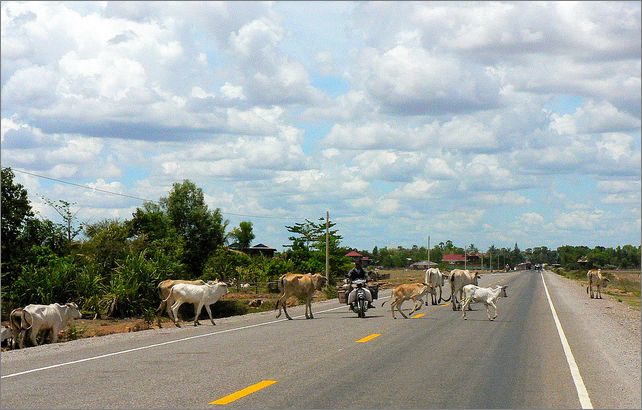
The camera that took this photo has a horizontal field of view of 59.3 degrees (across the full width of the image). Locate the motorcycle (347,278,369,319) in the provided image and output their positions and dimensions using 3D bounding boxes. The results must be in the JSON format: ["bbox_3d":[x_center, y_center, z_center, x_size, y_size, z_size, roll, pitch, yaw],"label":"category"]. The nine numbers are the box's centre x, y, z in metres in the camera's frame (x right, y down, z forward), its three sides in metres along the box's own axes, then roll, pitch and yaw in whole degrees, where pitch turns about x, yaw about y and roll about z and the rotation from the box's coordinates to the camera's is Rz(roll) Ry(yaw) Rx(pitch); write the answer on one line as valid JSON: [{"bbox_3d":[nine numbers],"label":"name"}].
[{"bbox_3d":[1.886,4.583,27.493,1.049,1.834,1.381,-1,-10,2],"label":"motorcycle"}]

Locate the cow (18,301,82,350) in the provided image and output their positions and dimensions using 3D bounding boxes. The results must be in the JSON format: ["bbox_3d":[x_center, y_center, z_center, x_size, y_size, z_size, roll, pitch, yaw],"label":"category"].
[{"bbox_3d":[-11.286,4.964,23.401,1.031,1.753,2.176,-3,-11,13],"label":"cow"}]

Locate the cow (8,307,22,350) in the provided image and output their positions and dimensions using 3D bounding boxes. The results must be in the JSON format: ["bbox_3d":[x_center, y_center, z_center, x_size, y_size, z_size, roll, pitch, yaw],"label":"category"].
[{"bbox_3d":[-12.272,5.014,22.811,0.420,1.615,1.138,4,-11,-27],"label":"cow"}]
